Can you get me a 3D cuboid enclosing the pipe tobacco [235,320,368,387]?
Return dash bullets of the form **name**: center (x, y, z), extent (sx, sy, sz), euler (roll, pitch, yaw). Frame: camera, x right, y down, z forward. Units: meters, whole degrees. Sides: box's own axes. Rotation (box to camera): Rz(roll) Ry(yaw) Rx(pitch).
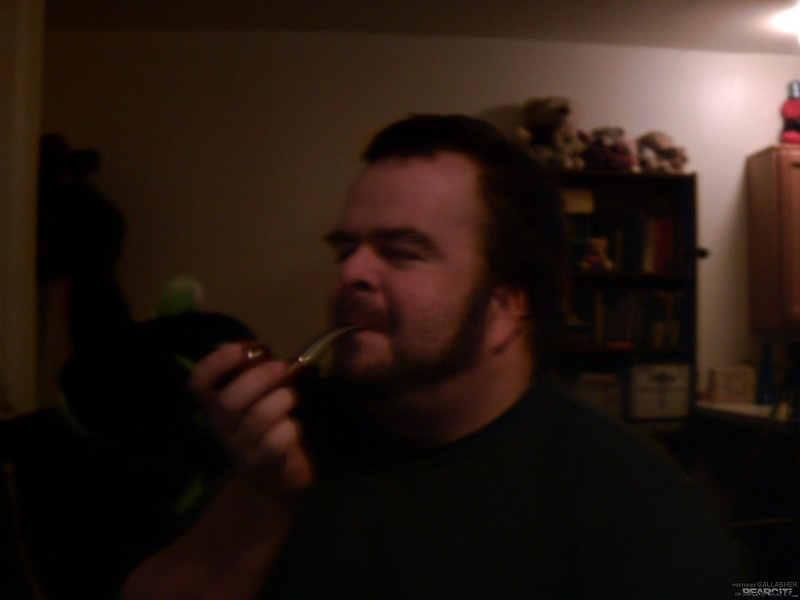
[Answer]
- **pipe tobacco**: center (-0.196, 0.102, 1.414), extent (0.152, 0.105, 0.215), euler (5, 7, 42)
